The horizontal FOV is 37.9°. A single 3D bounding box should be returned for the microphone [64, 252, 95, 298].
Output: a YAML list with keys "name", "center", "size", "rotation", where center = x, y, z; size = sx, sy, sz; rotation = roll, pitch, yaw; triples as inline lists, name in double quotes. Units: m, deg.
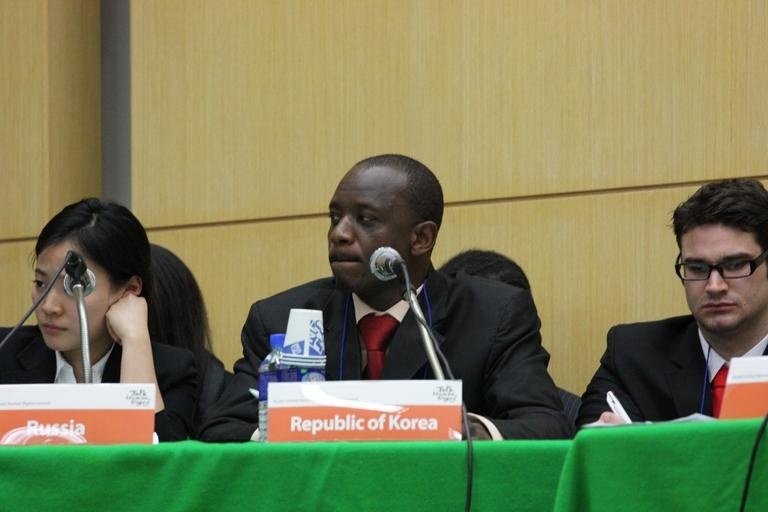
- name: "microphone"
  center: [-1.087, 0.067, 4.011]
  size: [0.101, 0.153, 0.245]
  rotation: [-1, -1, -16]

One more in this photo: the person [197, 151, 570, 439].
- name: "person"
  center: [0.066, 0.157, 4.400]
  size: [0.735, 1.112, 0.580]
  rotation: [-12, -38, 20]

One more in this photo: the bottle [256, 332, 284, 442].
- name: "bottle"
  center: [-0.374, 0.438, 3.700]
  size: [0.091, 0.351, 0.271]
  rotation: [-2, -1, -10]

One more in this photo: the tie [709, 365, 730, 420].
- name: "tie"
  center: [1.249, 0.509, 4.216]
  size: [0.062, 0.164, 0.146]
  rotation: [-2, -1, 16]

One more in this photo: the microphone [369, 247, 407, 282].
- name: "microphone"
  center: [0.023, 0.024, 3.830]
  size: [0.069, 0.072, 0.154]
  rotation: [-1, -2, -39]
